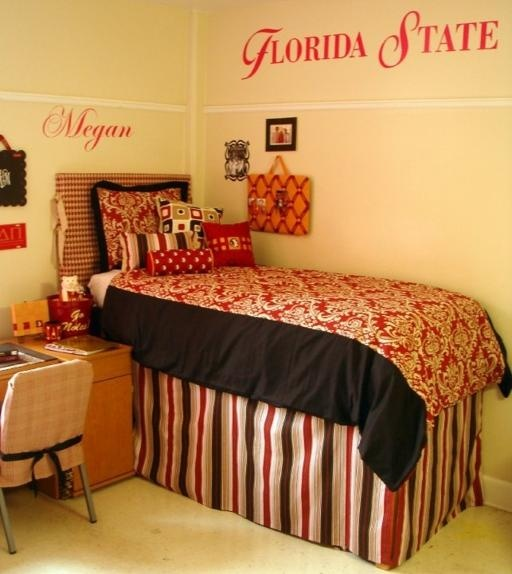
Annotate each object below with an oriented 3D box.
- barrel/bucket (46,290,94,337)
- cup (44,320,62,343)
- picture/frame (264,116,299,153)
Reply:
[{"bbox_3d":[-0.900,0.141,2.354,0.209,0.152,0.186,0,1,38],"label":"barrel/bucket"},{"bbox_3d":[-0.964,0.217,2.334,0.094,0.099,0.091,0,2,0],"label":"cup"},{"bbox_3d":[0.164,-0.954,2.978,0.258,0.237,0.018,5,7,41],"label":"picture/frame"}]
